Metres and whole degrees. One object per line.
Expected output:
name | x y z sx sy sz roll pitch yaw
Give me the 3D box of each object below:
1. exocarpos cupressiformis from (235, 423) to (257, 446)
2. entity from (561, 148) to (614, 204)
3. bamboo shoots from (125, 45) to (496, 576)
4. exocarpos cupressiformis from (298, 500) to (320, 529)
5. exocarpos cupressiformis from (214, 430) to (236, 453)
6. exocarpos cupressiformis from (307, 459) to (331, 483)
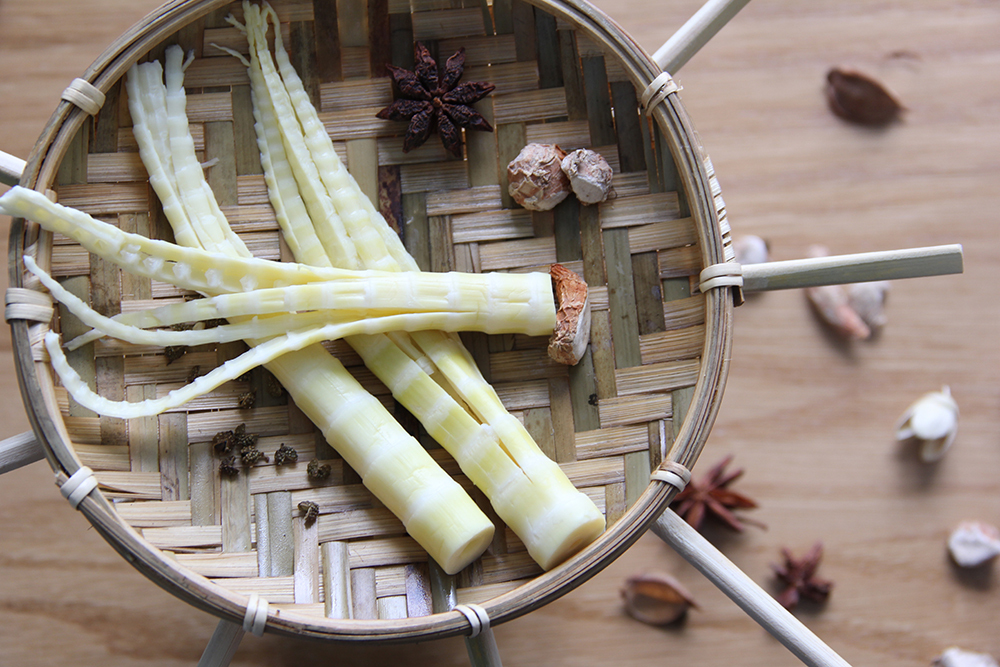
exocarpos cupressiformis | -0.465 0.188 3.142 0.016 0.038 0.038 -18 18 48
entity | 0.158 -0.285 3.118 0.088 0.098 0.039 -23 12 -6
bamboo shoots | -0.361 -0.008 3.116 0.184 1.097 0.155 -36 -3 1
exocarpos cupressiformis | -0.344 0.329 3.121 0.037 0.044 0.043 1 -8 -2
exocarpos cupressiformis | -0.501 0.200 3.132 0.038 0.036 0.011 1 -5 5
exocarpos cupressiformis | -0.331 0.255 3.133 0.045 0.030 0.017 5 2 -10
